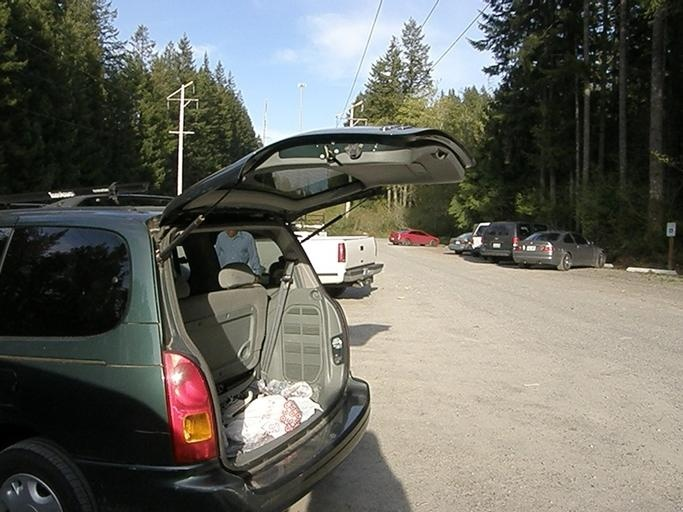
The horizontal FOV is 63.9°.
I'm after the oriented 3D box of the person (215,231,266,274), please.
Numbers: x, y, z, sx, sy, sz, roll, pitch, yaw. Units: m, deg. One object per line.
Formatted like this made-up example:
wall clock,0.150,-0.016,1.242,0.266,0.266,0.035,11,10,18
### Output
person,-1.564,-0.072,8.229,0.829,0.741,0.388,3,25,11
